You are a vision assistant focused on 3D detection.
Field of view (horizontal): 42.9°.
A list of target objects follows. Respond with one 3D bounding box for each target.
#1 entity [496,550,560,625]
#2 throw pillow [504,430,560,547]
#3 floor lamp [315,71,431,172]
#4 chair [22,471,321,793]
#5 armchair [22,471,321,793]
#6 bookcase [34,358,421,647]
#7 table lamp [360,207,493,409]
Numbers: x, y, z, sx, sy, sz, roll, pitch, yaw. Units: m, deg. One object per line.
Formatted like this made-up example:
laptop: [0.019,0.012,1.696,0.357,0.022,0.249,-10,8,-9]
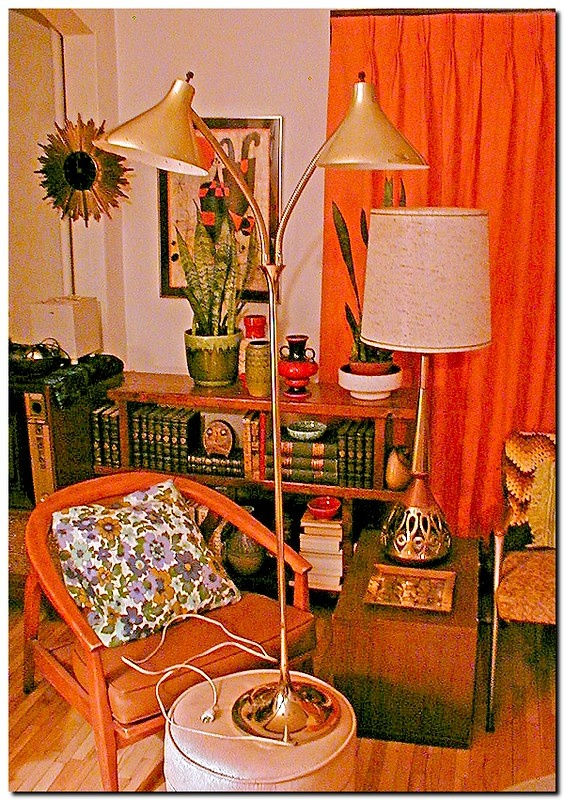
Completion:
entity: [0.702,0.533,2.084,0.163,0.149,0.219,3,10,20]
throw pillow: [0.744,0.260,2.154,0.214,0.285,0.067,1,-2,-14]
floor lamp: [0.142,-0.386,1.155,0.146,0.212,0.182,-3,4,1]
chair: [-0.307,0.538,1.894,0.642,0.718,0.695,-13,20,-36]
armchair: [-0.307,0.539,1.889,0.642,0.718,0.695,-13,20,-36]
bookcase: [-0.093,0.370,2.941,1.214,0.395,0.783,-16,-23,7]
table lamp: [0.316,-0.212,1.573,0.251,0.364,0.289,-1,12,-2]
